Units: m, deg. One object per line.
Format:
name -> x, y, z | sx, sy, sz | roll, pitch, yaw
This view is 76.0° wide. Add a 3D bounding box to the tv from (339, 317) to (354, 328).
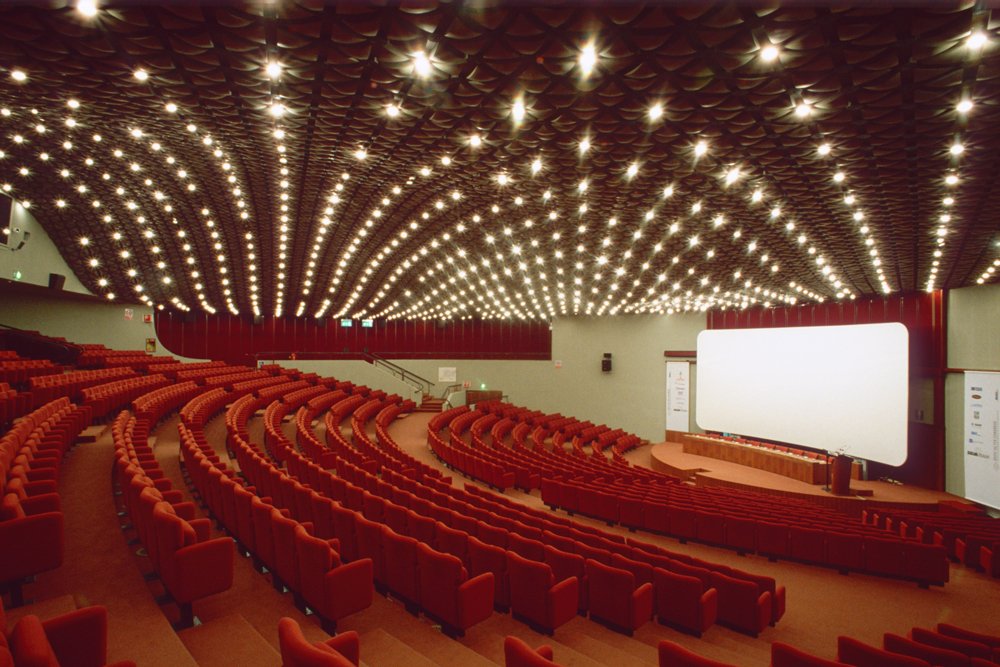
tv -> -8.203, -0.608, 34.323 | 0.777, 0.570, 0.426 | 3, -13, -17
